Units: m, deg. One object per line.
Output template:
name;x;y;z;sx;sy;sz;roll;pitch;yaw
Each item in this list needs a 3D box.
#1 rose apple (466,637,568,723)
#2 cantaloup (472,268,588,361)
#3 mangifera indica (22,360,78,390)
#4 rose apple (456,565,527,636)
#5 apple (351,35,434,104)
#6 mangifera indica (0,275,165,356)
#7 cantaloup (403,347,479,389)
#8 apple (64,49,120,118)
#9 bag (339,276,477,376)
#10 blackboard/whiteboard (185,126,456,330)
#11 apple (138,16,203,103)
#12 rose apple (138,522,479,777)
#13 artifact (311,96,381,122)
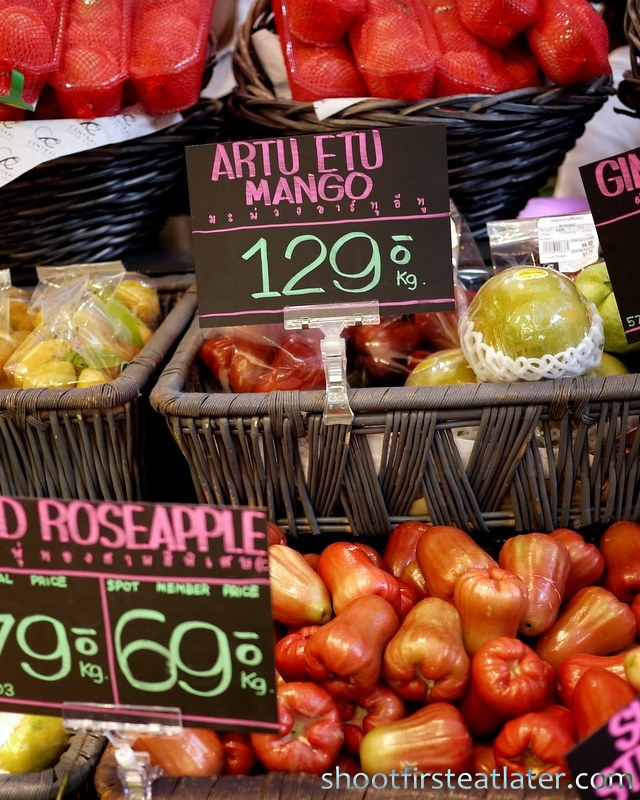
rose apple;0.193;0.278;0.702;0.083;0.075;0.080;-25;50;-25
cantaloup;0.269;-0.104;0.835;0.133;0.093;0.133;-3;-1;11
mangifera indica;-0.400;-0.037;0.991;0.066;0.035;0.049;-27;23;-27
rose apple;0.176;0.213;0.689;0.072;0.073;0.071;1;11;9
apple;0.107;-0.560;1.117;0.160;0.093;0.083;21;50;25
mangifera indica;-0.378;-0.174;1.196;0.174;0.068;0.183;-4;20;4
cantaloup;0.172;-0.042;0.921;0.069;0.074;0.063;18;55;9
apple;-0.383;-0.525;1.103;0.104;0.090;0.111;-1;52;-3
bag;0.144;-0.109;1.076;0.189;0.081;0.134;-11;23;14
blackboard/whiteboard;0.003;-0.221;0.860;0.355;0.229;0.024;-5;7;2
apple;-0.268;-0.589;1.174;0.124;0.072;0.157;-7;51;5
rose apple;0.001;0.265;0.690;0.316;0.109;0.243;-3;19;4
artifact;0.034;-0.479;1.089;0.094;0.027;0.038;-3;43;2
